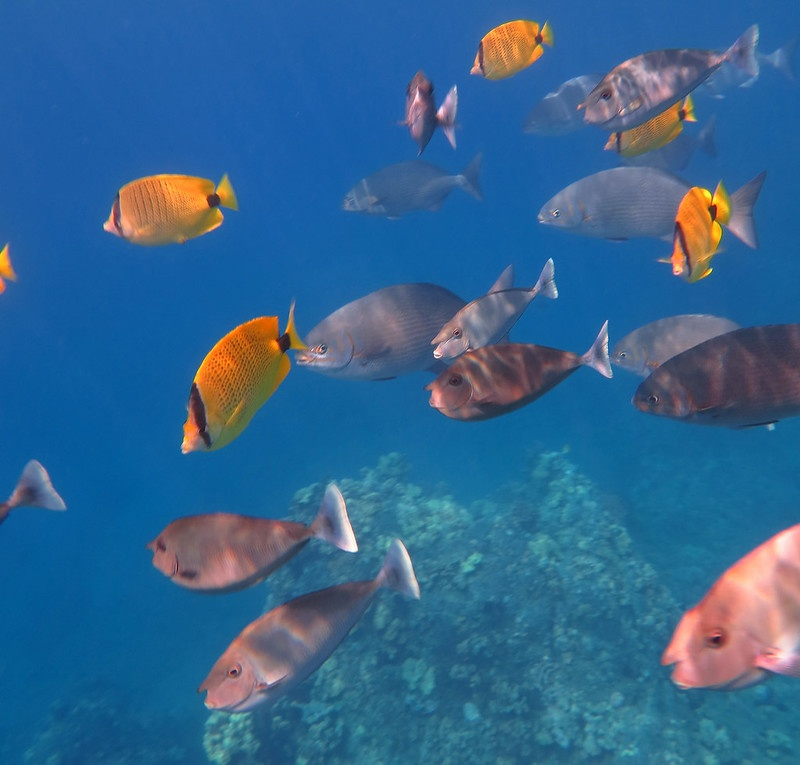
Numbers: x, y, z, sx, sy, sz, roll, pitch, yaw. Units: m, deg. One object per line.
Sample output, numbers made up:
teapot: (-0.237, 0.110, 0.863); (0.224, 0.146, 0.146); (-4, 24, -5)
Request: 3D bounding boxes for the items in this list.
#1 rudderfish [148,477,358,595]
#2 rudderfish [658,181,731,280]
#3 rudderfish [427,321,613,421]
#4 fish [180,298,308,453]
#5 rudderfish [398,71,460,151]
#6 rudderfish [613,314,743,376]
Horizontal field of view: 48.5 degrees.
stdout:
rudderfish: (-0.904, 0.989, 5.238); (1.182, 0.349, 0.724); (-4, 65, -10)
rudderfish: (1.907, -0.956, 5.646); (0.297, 0.424, 0.664); (7, 44, 41)
rudderfish: (0.635, -0.022, 5.389); (0.962, 0.337, 0.337); (-20, 54, -2)
fish: (-0.883, 0.001, 4.742); (0.244, 0.517, 0.891); (12, 45, 36)
rudderfish: (0.186, -1.785, 6.070); (0.446, 0.480, 0.390); (10, 57, 17)
rudderfish: (1.937, -0.245, 5.975); (0.818, 0.234, 0.432); (-17, 76, 34)
